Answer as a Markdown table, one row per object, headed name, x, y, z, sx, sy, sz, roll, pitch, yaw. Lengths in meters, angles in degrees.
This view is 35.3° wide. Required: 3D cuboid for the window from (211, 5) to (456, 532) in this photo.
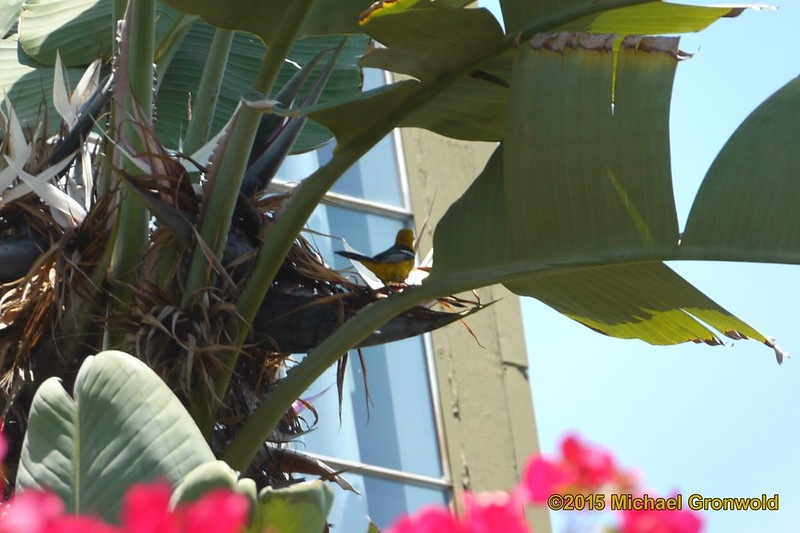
| name | x | y | z | sx | sy | sz | roll | pitch | yaw |
| --- | --- | --- | --- | --- | --- | --- | --- | --- | --- |
| window | -0.264 | 0.129 | 4.354 | 0.321 | 1.381 | 0.992 | 16 | -37 | 59 |
